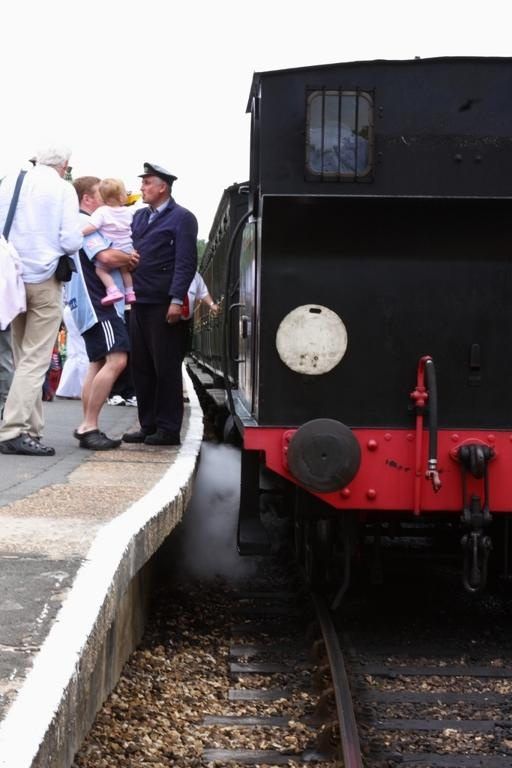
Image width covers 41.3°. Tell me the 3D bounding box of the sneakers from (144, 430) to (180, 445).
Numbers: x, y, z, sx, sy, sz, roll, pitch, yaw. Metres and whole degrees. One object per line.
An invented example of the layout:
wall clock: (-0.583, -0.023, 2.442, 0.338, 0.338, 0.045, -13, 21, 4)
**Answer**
sneakers: (-0.772, 0.430, 5.535, 0.287, 0.146, 0.107, 5, -2, -12)

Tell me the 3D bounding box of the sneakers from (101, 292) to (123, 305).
sneakers: (-1.133, -0.690, 5.326, 0.172, 0.076, 0.122, -12, 44, -7)

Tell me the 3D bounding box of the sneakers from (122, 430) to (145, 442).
sneakers: (-1.040, 0.437, 5.729, 0.219, 0.092, 0.082, 3, -4, -9)

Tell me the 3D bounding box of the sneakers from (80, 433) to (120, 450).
sneakers: (-1.234, 0.436, 5.272, 0.245, 0.118, 0.131, 0, 5, -10)

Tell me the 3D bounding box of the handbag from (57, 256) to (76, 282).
handbag: (-1.406, -0.856, 5.044, 0.153, 0.196, 0.258, 3, 13, -7)

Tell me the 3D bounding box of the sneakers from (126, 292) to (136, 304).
sneakers: (-1.009, -0.693, 5.426, 0.043, 0.088, 0.124, 1, 3, -11)
